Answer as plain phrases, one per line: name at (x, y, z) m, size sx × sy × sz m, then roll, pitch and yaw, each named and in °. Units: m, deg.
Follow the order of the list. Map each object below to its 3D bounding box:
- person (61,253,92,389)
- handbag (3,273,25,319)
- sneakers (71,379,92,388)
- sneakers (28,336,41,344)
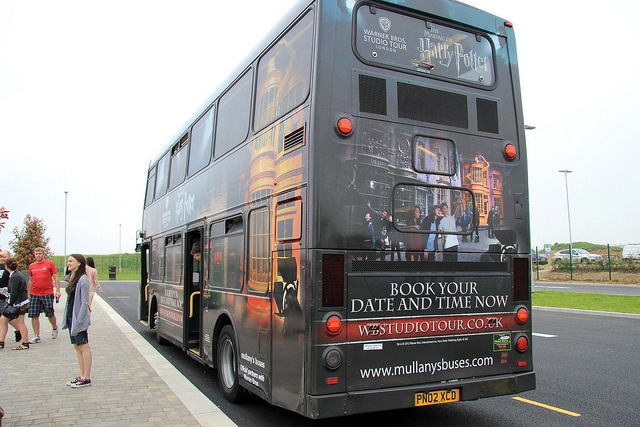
person at (-4.477, 1.979, 7.571) m, size 0.512 × 2.449 × 0.843 m, roll 3°, pitch -6°, yaw -32°
handbag at (-8.209, 2.187, 10.946) m, size 0.524 × 1.302 × 0.412 m, roll 2°, pitch -5°, yaw -18°
sneakers at (-4.475, 3.148, 7.595) m, size 0.215 × 0.088 × 0.164 m, roll 12°, pitch -14°, yaw -29°
sneakers at (-8.274, 3.599, 11.712) m, size 0.380 × 0.199 × 0.157 m, roll 2°, pitch -2°, yaw 23°
